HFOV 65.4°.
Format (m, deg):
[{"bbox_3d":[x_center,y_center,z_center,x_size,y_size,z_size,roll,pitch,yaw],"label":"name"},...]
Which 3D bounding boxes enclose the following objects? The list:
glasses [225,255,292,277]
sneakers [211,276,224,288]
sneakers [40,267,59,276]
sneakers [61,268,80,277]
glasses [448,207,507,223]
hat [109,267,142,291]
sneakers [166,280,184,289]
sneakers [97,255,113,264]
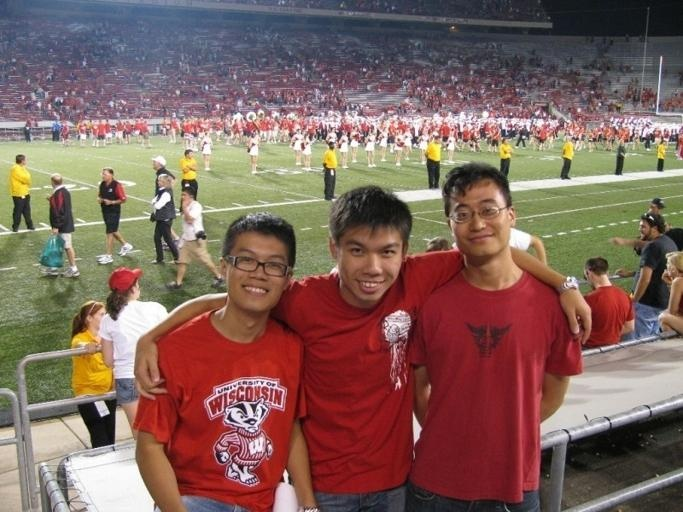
[{"bbox_3d":[-0.364,0.046,2.311,0.261,0.119,0.067,-6,-12,-11],"label":"glasses"},{"bbox_3d":[-2.181,0.480,9.358,0.132,0.170,0.392,-2,-2,-2],"label":"sneakers"},{"bbox_3d":[-5.540,0.315,10.082,0.430,0.190,0.176,1,6,39],"label":"sneakers"},{"bbox_3d":[-4.995,0.309,9.872,0.367,0.185,0.139,4,15,-1],"label":"sneakers"},{"bbox_3d":[0.601,-0.177,2.341,0.229,0.064,0.037,-11,-12,12],"label":"glasses"},{"bbox_3d":[-2.019,0.229,4.934,0.234,0.259,0.203,1,-15,-35],"label":"hat"},{"bbox_3d":[-2.894,0.507,9.213,0.253,0.163,0.268,-6,-12,-12],"label":"sneakers"},{"bbox_3d":[-4.708,0.088,10.626,0.171,0.117,0.291,0,2,-5],"label":"sneakers"}]
